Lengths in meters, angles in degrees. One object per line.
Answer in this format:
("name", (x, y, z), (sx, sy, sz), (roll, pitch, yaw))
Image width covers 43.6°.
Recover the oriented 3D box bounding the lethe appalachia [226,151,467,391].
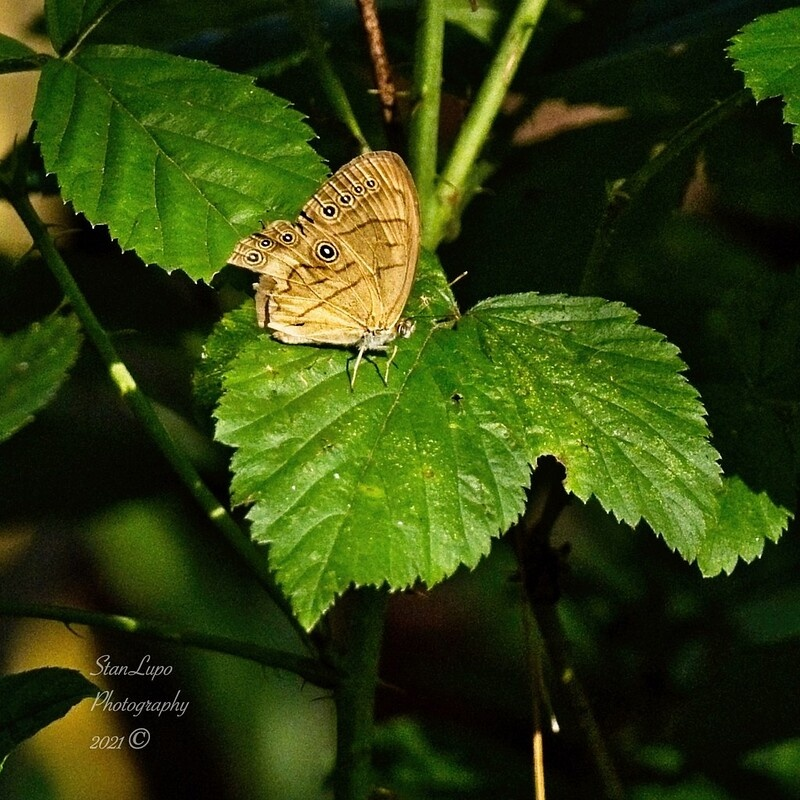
("lethe appalachia", (-0.148, -0.418, 2.948), (0.654, 0.694, 0.368), (7, 31, 23))
